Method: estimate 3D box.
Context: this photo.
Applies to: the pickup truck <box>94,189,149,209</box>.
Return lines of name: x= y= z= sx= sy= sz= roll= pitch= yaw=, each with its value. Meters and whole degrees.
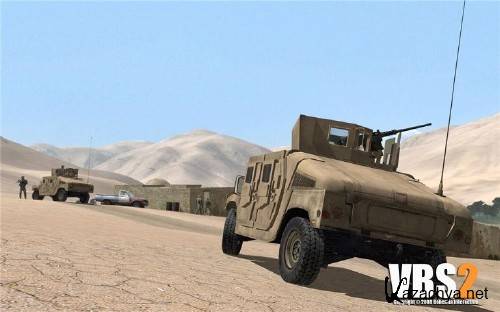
pickup truck: x=-11.838 y=4.035 z=38.446 sx=4.233 sy=1.735 sz=2.090 roll=1 pitch=-2 yaw=-3

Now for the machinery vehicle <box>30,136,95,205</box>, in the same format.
machinery vehicle: x=-14.861 y=2.354 z=32.790 sx=4.587 sy=2.625 sz=2.523 roll=-3 pitch=-7 yaw=29

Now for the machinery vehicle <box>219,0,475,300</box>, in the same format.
machinery vehicle: x=3.484 y=0.765 z=12.814 sx=5.198 sy=7.709 sz=7.526 roll=6 pitch=0 yaw=-27
